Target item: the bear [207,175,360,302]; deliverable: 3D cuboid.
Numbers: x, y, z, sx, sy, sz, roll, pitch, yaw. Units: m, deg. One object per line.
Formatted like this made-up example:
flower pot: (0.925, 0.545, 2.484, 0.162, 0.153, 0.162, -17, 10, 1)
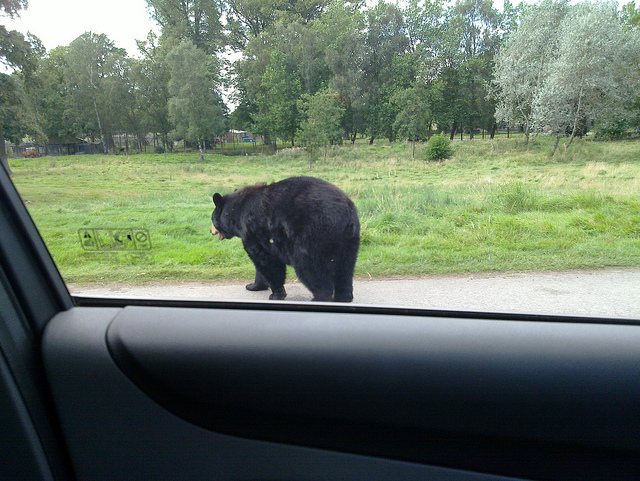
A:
bear: (-0.299, -0.010, 4.797, 1.220, 0.922, 0.561, 5, 12, 31)
